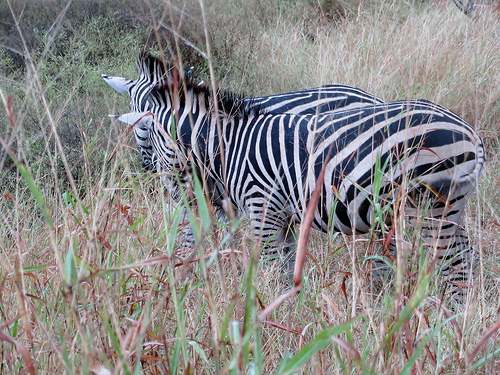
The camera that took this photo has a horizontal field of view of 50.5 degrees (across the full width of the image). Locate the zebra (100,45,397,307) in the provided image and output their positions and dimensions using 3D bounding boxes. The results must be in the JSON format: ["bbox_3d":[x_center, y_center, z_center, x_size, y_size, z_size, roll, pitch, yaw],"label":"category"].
[{"bbox_3d":[-0.054,-0.102,2.962,1.664,1.206,0.548,1,-5,15],"label":"zebra"}]
